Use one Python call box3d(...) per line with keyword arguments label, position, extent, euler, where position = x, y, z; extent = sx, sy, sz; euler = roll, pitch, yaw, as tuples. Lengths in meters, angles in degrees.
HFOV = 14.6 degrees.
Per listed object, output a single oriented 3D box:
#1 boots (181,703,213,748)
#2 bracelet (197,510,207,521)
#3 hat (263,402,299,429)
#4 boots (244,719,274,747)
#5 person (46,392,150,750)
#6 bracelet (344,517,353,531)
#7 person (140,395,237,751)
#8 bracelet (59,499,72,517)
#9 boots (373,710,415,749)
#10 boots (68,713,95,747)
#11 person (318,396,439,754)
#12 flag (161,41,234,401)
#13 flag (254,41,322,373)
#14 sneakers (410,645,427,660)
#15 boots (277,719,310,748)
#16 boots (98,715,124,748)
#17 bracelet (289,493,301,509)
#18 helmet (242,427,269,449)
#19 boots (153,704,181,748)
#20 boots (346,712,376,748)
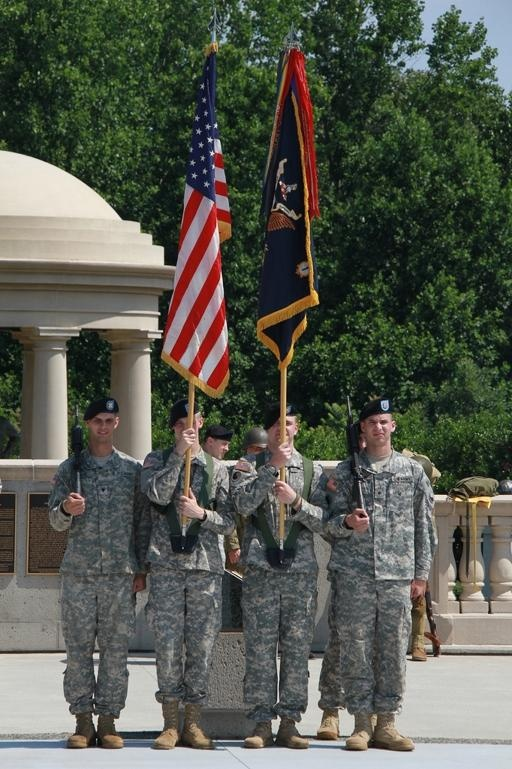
box3d(label="boots", position=(-0.424, 2.418, 14.168), extent=(0.159, 0.308, 0.297), euler=(2, -6, -24))
box3d(label="bracelet", position=(-0.387, 0.937, 14.298), extent=(0.055, 0.069, 0.072), euler=(-3, 8, 3))
box3d(label="hat", position=(0.169, 0.224, 14.691), extent=(0.199, 0.176, 0.165), euler=(6, 9, 27))
box3d(label="boots", position=(0.018, 2.482, 14.182), extent=(0.172, 0.180, 0.284), euler=(-3, -6, 16))
box3d(label="person", position=(-1.116, 1.332, 14.346), extent=(0.726, 2.492, 0.600), euler=(0, -5, -11))
box3d(label="bracelet", position=(0.654, 1.004, 14.253), extent=(0.068, 0.072, 0.063), euler=(1, -3, -4))
box3d(label="person", position=(-0.485, 1.338, 14.373), extent=(0.678, 2.493, 0.486), euler=(1, -6, -17))
box3d(label="bracelet", position=(-1.350, 0.882, 14.164), extent=(0.082, 0.080, 0.102), euler=(0, 5, -3))
box3d(label="boots", position=(1.013, 2.467, 14.112), extent=(0.393, 0.295, 0.142), euler=(-2, -5, 39))
box3d(label="boots", position=(-1.230, 2.438, 14.106), extent=(0.178, 0.237, 0.306), euler=(-1, -6, 1))
box3d(label="person", position=(0.860, 1.353, 14.363), extent=(0.853, 2.498, 0.607), euler=(-1, -5, 3))
box3d(label="flag", position=(-0.438, -1.212, 14.958), extent=(0.536, 2.628, 0.455), euler=(0, -5, -11))
box3d(label="flag", position=(0.224, -1.330, 15.001), extent=(0.460, 2.441, 0.334), euler=(-2, -5, 9))
box3d(label="sneakers", position=(1.450, 2.407, 17.966), extent=(0.088, 0.123, 0.274), euler=(0, -7, 5))
box3d(label="boots", position=(0.248, 2.473, 14.177), extent=(0.252, 0.200, 0.238), euler=(-2, -6, 11))
box3d(label="boots", position=(-1.030, 2.450, 14.102), extent=(0.172, 0.220, 0.250), euler=(0, -6, -10))
box3d(label="bracelet", position=(0.278, 0.836, 14.354), extent=(0.034, 0.087, 0.072), euler=(24, -23, -20))
box3d(label="helmet", position=(-0.005, 0.441, 16.887), extent=(0.177, 0.153, 0.140), euler=(-16, 9, -16))
box3d(label="boots", position=(-0.625, 2.419, 14.093), extent=(0.125, 0.351, 0.336), euler=(-6, -6, 17))
box3d(label="boots", position=(0.744, 2.454, 14.152), extent=(0.193, 0.250, 0.394), euler=(-1, -6, 7))
